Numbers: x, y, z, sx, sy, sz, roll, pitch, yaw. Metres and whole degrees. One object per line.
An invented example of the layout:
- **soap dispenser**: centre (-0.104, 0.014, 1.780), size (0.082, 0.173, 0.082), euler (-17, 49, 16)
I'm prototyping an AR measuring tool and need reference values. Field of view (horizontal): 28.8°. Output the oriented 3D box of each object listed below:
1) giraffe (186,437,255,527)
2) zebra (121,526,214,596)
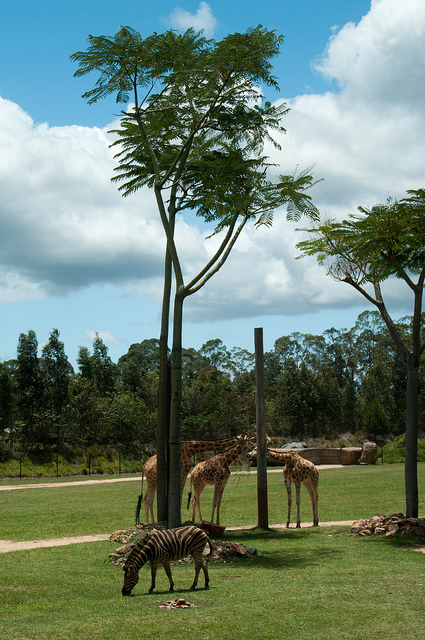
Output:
- **giraffe**: centre (0.090, 3.666, 19.989), size (1.749, 2.406, 1.832), euler (-6, -5, -1)
- **zebra**: centre (-0.671, 3.481, 11.951), size (1.413, 0.884, 0.547), euler (5, -9, -37)
